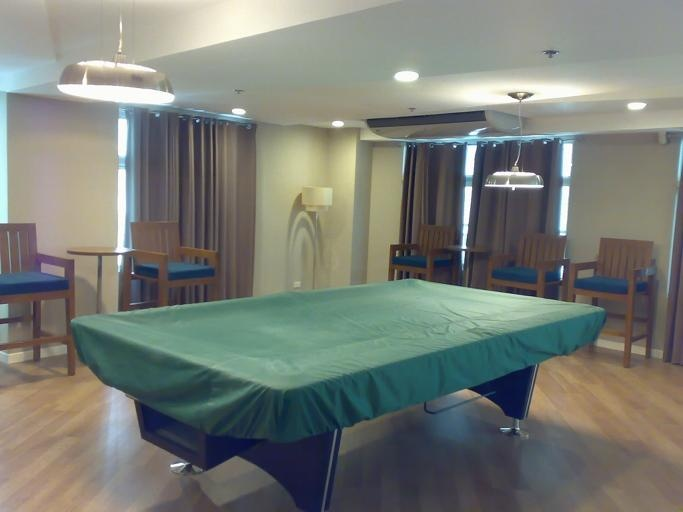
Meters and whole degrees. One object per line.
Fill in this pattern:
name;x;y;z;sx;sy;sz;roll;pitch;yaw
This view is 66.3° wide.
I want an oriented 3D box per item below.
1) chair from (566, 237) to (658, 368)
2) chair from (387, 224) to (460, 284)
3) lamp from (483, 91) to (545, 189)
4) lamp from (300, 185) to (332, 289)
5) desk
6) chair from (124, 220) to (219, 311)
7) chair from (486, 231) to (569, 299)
chair;2.882;0.457;5.609;0.719;1.276;0.663;6;11;44
chair;1.084;0.065;6.945;0.731;1.010;0.665;8;7;43
lamp;1.858;-1.250;5.557;0.690;1.271;0.718;5;10;28
lamp;-0.365;-0.242;7.411;0.465;1.463;0.636;1;10;-3
desk;-0.010;0.765;3.195;2.747;0.847;1.451;-5;12;-36
chair;-1.751;0.134;5.354;0.866;1.006;0.854;-1;7;-37
chair;2.242;0.178;6.011;0.650;0.897;0.616;7;3;29
